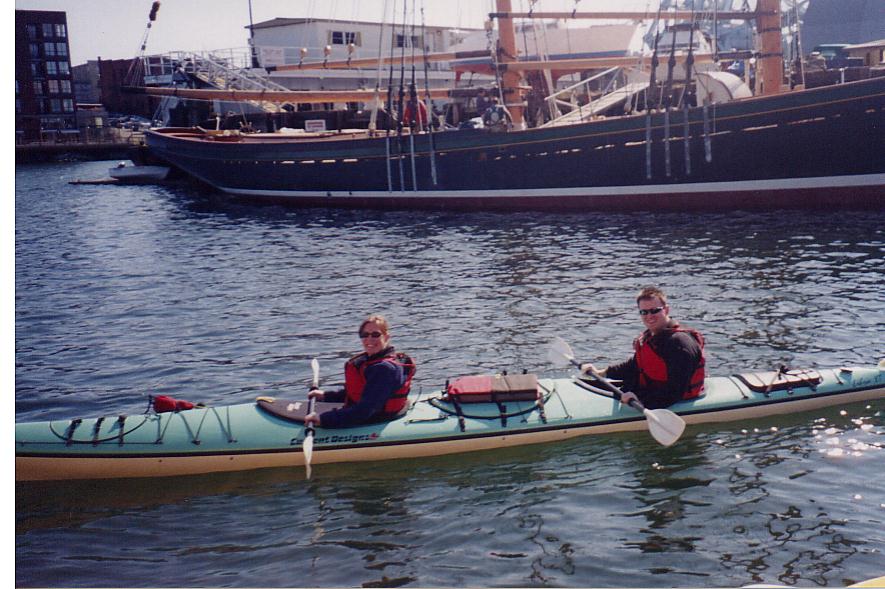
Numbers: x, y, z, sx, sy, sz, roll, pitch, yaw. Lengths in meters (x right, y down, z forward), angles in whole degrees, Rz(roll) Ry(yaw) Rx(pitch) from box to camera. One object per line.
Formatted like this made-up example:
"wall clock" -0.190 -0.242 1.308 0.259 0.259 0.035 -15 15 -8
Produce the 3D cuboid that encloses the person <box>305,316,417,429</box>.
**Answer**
"person" -1.286 1.279 15.077 1.624 1.901 0.573 -4 9 -2

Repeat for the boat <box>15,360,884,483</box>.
"boat" 0.525 2.247 15.696 13.622 0.806 1.719 -3 6 -3

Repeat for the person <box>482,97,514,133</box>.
"person" 1.843 -6.220 31.314 0.895 1.264 0.957 -2 7 14
